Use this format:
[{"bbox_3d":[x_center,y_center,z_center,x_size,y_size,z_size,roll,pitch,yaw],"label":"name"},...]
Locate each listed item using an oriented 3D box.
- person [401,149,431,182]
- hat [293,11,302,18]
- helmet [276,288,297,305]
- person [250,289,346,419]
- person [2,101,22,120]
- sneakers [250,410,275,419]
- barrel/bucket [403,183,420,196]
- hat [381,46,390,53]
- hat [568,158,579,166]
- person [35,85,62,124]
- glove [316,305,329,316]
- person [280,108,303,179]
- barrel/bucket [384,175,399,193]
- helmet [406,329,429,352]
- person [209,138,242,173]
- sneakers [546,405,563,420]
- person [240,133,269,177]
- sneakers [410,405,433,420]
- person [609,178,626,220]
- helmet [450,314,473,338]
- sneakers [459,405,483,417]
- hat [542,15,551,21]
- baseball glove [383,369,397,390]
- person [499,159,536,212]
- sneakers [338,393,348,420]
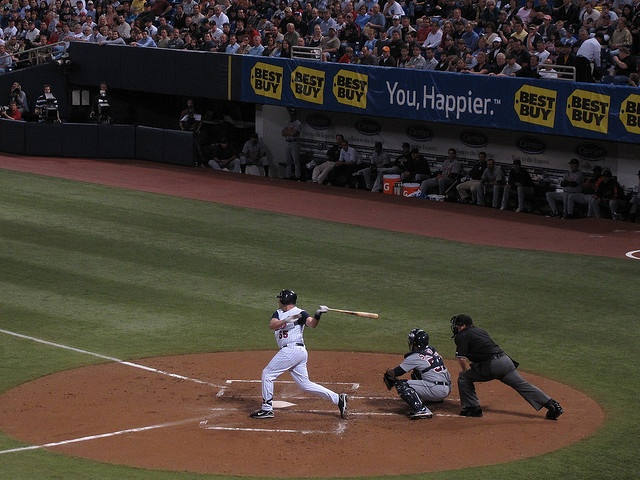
[{"bbox_3d":[3.036,-2.277,34.905,1.116,1.161,0.922,-2,19,-2],"label":"person"},{"bbox_3d":[-0.707,-7.531,37.213,0.353,0.116,0.417,1,9,6],"label":"hat"},{"bbox_3d":[-0.597,0.988,19.619,0.249,0.151,0.338,5,5,-32],"label":"helmet"},{"bbox_3d":[-0.397,1.995,19.541,1.534,2.219,0.531,1,4,6],"label":"person"},{"bbox_3d":[-10.599,-4.467,38.683,0.671,0.699,1.359,-1,3,-16],"label":"person"},{"bbox_3d":[-0.968,3.023,19.489,0.456,0.160,0.146,2,3,-3],"label":"sneakers"},{"bbox_3d":[2.841,-1.559,34.438,0.476,0.264,0.413,-1,10,-5],"label":"barrel/bucket"},{"bbox_3d":[2.042,-5.807,34.125,0.211,0.226,0.336,1,3,2],"label":"hat"},{"bbox_3d":[7.209,-2.194,31.655,0.307,0.124,0.196,6,5,4],"label":"hat"},{"bbox_3d":[-9.223,-4.612,38.067,0.794,1.244,1.384,0,4,-14],"label":"person"},{"bbox_3d":[0.058,1.193,19.435,0.191,0.068,0.217,4,-16,-12],"label":"glove"},{"bbox_3d":[-0.912,-3.203,37.329,0.635,2.394,0.756,1,4,0],"label":"person"},{"bbox_3d":[2.213,-1.735,34.787,0.666,0.559,0.580,0,6,-2],"label":"barrel/bucket"},{"bbox_3d":[1.805,1.761,20.077,0.437,0.351,0.381,17,24,41],"label":"helmet"},{"bbox_3d":[-3.154,-2.853,38.266,1.143,1.205,0.868,3,21,10],"label":"person"},{"bbox_3d":[4.139,3.038,19.742,0.263,0.251,0.124,37,10,-7],"label":"sneakers"},{"bbox_3d":[-2.191,-2.895,37.980,0.958,1.367,0.413,0,4,-4],"label":"person"},{"bbox_3d":[1.819,3.021,19.620,0.464,0.207,0.178,-1,4,-22],"label":"sneakers"},{"bbox_3d":[8.322,-1.148,31.239,0.439,1.156,0.505,2,4,13],"label":"person"},{"bbox_3d":[2.487,1.491,20.045,0.491,0.389,0.396,11,9,16],"label":"helmet"},{"bbox_3d":[2.696,3.010,19.750,0.462,0.242,0.155,4,14,9],"label":"sneakers"},{"bbox_3d":[6.720,-6.535,32.973,0.173,0.105,0.232,15,14,22],"label":"hat"},{"bbox_3d":[1.273,2.475,19.898,0.212,0.407,0.148,-14,-19,10],"label":"baseball glove"},{"bbox_3d":[5.807,-1.577,32.787,0.968,1.530,0.491,2,4,19],"label":"person"},{"bbox_3d":[0.421,2.869,19.477,0.236,0.410,0.149,-4,27,3],"label":"sneakers"}]
